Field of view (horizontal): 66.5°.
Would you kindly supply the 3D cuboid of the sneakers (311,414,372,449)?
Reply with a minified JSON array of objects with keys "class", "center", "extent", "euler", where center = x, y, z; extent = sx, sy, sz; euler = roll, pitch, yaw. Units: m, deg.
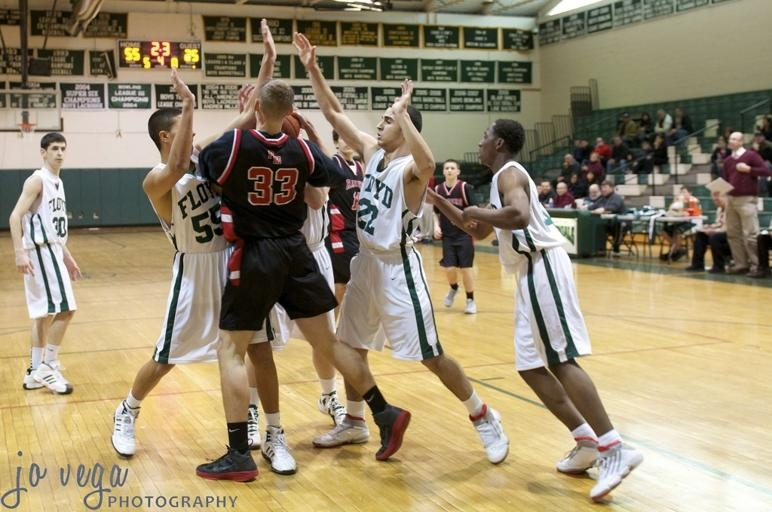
[{"class":"sneakers","center":[-0.280,1.191,4.005],"extent":[0.449,0.258,0.160],"euler":[1,-1,-10]}]

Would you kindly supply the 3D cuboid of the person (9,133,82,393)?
[{"class":"person","center":[-2.887,0.041,5.118],"extent":[0.473,2.191,0.594],"euler":[1,8,12]}]

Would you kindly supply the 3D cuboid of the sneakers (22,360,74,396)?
[{"class":"sneakers","center":[-2.864,1.057,5.150],"extent":[0.584,0.298,0.202],"euler":[5,-2,23]}]

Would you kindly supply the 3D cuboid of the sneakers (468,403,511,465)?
[{"class":"sneakers","center":[0.685,1.149,3.740],"extent":[0.155,0.457,0.195],"euler":[-39,-44,27]}]

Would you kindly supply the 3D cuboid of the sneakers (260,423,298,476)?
[{"class":"sneakers","center":[-0.656,1.227,3.655],"extent":[0.133,0.161,0.346],"euler":[0,-3,-20]}]

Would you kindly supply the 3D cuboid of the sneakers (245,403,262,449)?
[{"class":"sneakers","center":[-0.900,1.181,4.037],"extent":[0.107,0.151,0.341],"euler":[-1,2,-12]}]

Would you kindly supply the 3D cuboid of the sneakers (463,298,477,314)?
[{"class":"sneakers","center":[1.140,0.687,7.980],"extent":[0.161,0.186,0.455],"euler":[-2,-5,10]}]

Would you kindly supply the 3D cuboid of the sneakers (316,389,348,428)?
[{"class":"sneakers","center":[-0.398,1.131,4.377],"extent":[0.114,0.145,0.332],"euler":[-3,7,-26]}]
